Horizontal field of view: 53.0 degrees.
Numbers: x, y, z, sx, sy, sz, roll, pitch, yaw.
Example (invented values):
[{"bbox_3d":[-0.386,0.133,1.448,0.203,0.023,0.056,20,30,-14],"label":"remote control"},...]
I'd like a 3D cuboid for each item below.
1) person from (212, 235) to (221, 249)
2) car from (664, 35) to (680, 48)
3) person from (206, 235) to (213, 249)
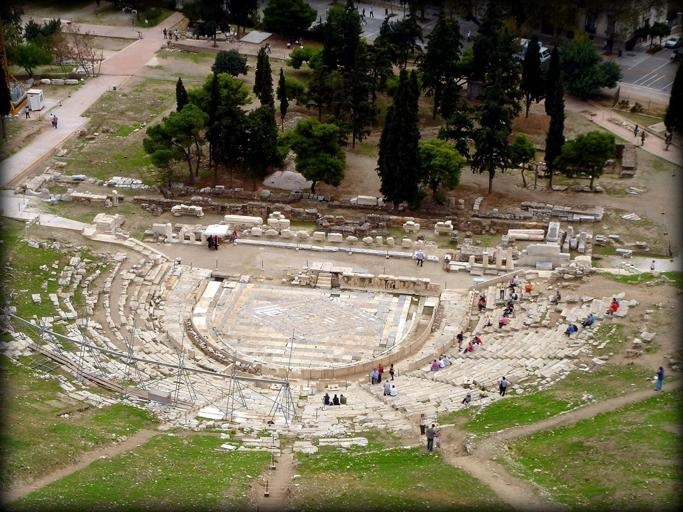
[{"bbox_3d":[-13.228,-1.522,72.823,0.786,1.113,1.582,0,26,-5],"label":"person"},{"bbox_3d":[56.567,-36.624,117.018,2.229,1.849,3.041,13,27,20],"label":"car"},{"bbox_3d":[-13.905,-1.440,72.440,0.490,1.169,0.944,1,-3,-33],"label":"person"}]
